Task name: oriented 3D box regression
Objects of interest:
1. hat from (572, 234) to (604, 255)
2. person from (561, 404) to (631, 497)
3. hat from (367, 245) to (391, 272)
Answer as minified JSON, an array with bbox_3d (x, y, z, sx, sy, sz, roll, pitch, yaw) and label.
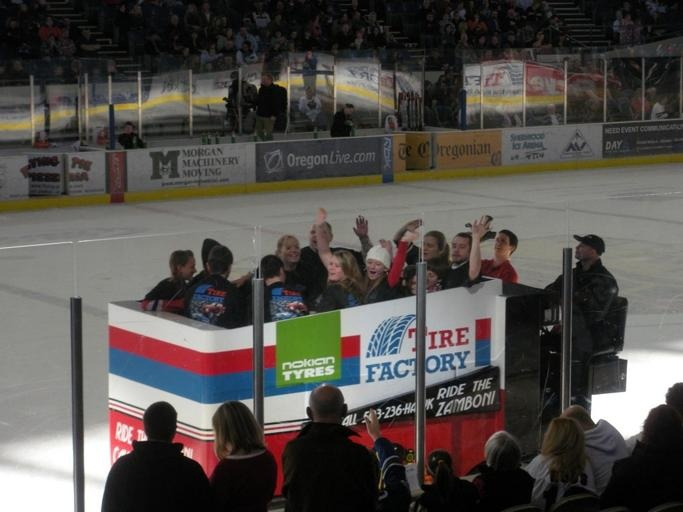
[{"bbox_3d":[2.196,-0.123,10.972,0.251,0.122,0.153,24,2,1],"label":"hat"},{"bbox_3d":[1.990,1.594,10.011,0.607,0.954,0.446,17,50,25],"label":"person"},{"bbox_3d":[0.347,0.007,10.502,0.158,0.203,0.184,1,44,23],"label":"hat"}]
